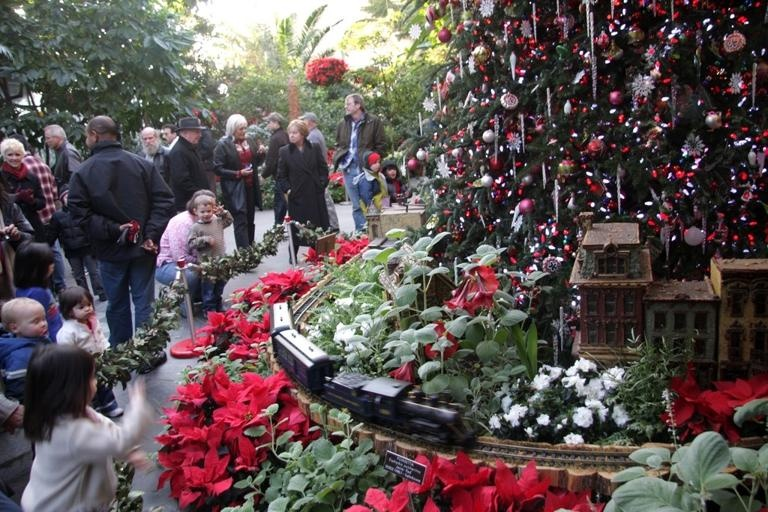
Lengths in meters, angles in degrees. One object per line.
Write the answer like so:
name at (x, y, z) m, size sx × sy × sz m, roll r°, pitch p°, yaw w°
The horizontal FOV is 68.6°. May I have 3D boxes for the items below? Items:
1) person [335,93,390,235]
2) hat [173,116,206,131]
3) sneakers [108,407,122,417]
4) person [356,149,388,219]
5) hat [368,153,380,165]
person at (-0.376, -1.420, 9.080) m, size 0.925 × 2.372 × 0.718 m, roll -3°, pitch 14°, yaw 10°
hat at (-2.688, -1.797, 7.728) m, size 0.425 × 0.171 × 0.475 m, roll -5°, pitch 8°, yaw -25°
sneakers at (-2.219, 1.298, 4.671) m, size 0.041 × 0.047 × 0.111 m, roll 11°, pitch 21°, yaw 24°
person at (-0.181, -1.150, 8.910) m, size 0.523 × 0.857 × 0.785 m, roll 1°, pitch -8°, yaw 0°
hat at (-0.191, -1.495, 8.627) m, size 0.198 × 0.192 × 0.151 m, roll 20°, pitch 21°, yaw 35°
